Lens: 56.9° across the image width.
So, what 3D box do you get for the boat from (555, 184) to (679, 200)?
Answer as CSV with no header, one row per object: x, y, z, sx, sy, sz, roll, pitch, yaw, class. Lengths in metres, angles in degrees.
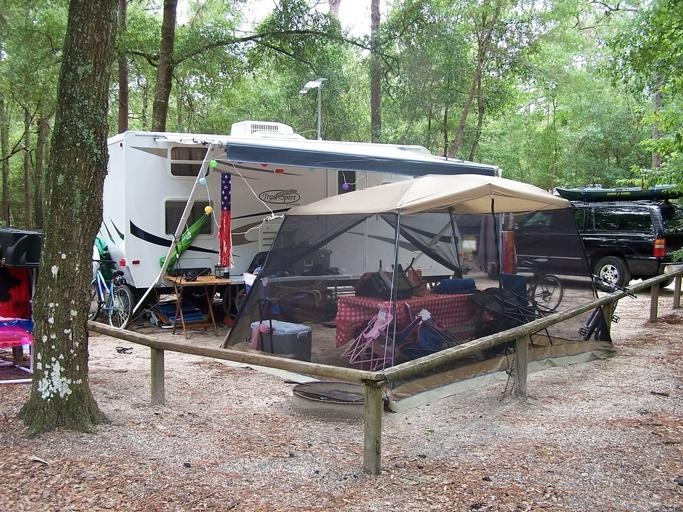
6.181,-1.350,13.897,2.841,0.408,0.800,3,6,42,boat

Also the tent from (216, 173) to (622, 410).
0.827,0.512,9.040,4.357,2.236,3.484,-7,7,-38,tent

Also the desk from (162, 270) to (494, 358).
0.258,0.815,8.652,2.984,0.832,2.025,1,-1,25,desk
